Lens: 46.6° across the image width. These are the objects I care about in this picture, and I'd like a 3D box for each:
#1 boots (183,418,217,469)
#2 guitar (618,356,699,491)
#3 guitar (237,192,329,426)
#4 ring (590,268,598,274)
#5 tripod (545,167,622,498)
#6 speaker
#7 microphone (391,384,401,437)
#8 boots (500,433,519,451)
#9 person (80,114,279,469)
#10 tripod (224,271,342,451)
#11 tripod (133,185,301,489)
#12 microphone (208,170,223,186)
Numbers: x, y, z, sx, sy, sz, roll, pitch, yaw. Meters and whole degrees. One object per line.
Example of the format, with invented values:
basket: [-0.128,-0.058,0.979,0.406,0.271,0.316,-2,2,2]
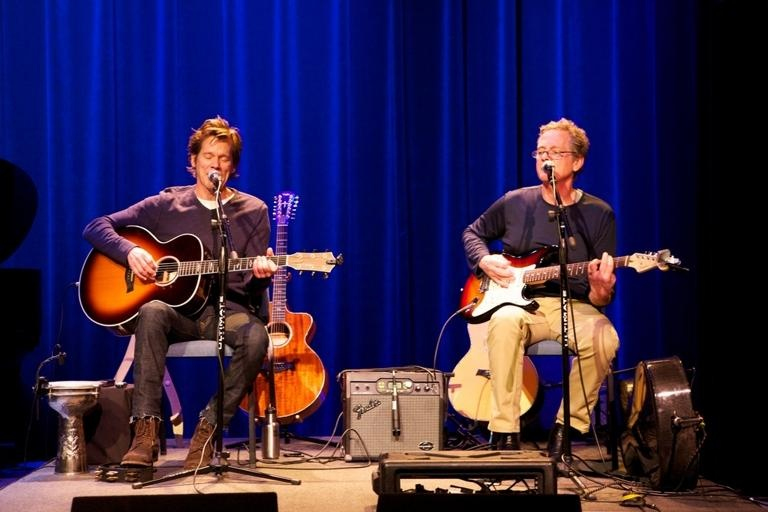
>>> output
boots: [-1.073,1.107,5.241,0.127,0.170,0.387,15,13,-11]
guitar: [1.545,0.978,5.062,0.315,0.820,0.728,1,-1,-6]
guitar: [-0.648,0.399,6.110,0.589,1.547,0.211,-6,-16,5]
ring: [1.266,0.093,5.440,0.029,0.030,0.009,-12,-30,44]
tripod: [1.071,0.390,5.280,0.266,1.947,0.757,-1,-4,10]
speaker: [0.000,0.984,5.774,0.787,0.760,0.499,-1,-8,-5]
microphone: [0.065,0.965,5.599,0.057,0.340,0.040,0,-3,0]
boots: [0.746,1.112,5.331,0.076,0.041,0.110,0,16,6]
person: [-1.179,0.155,5.413,1.100,2.354,0.330,-1,-19,9]
tripod: [-0.699,0.748,5.958,0.434,1.128,0.169,-1,-15,1]
tripod: [-1.018,0.436,5.280,0.981,1.766,0.580,1,-4,-10]
microphone: [-1.010,-0.450,5.280,0.089,0.071,0.146,1,-29,-10]
